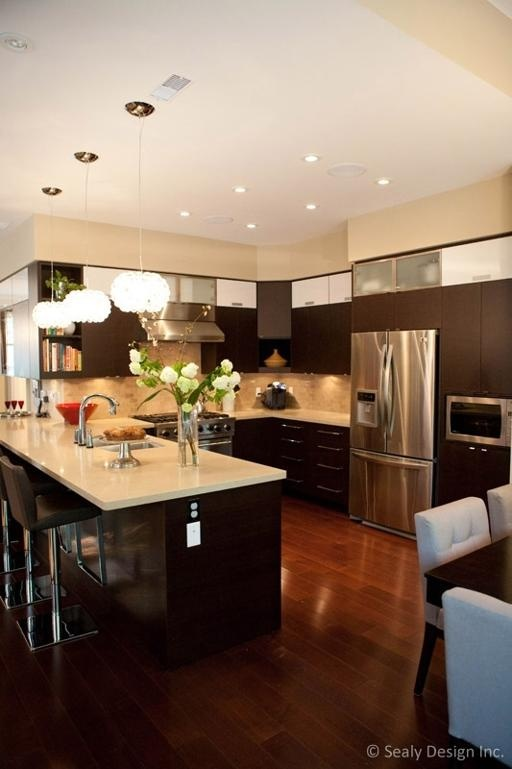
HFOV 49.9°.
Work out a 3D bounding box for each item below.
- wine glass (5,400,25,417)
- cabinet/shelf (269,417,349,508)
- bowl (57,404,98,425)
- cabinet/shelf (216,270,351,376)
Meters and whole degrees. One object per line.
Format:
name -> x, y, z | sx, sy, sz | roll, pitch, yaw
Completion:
wine glass -> -2.346, 0.234, 5.385 | 0.191, 0.084, 0.196 | -2, 4, -20
cabinet/shelf -> 0.523, 0.734, 5.199 | 0.395, 0.743, 0.817 | 0, 2, -37
bowl -> -1.570, 0.237, 4.775 | 0.256, 0.134, 0.262 | 0, 0, 0
cabinet/shelf -> 0.291, -0.634, 5.979 | 1.368, 1.043, 0.906 | 0, 0, 13
